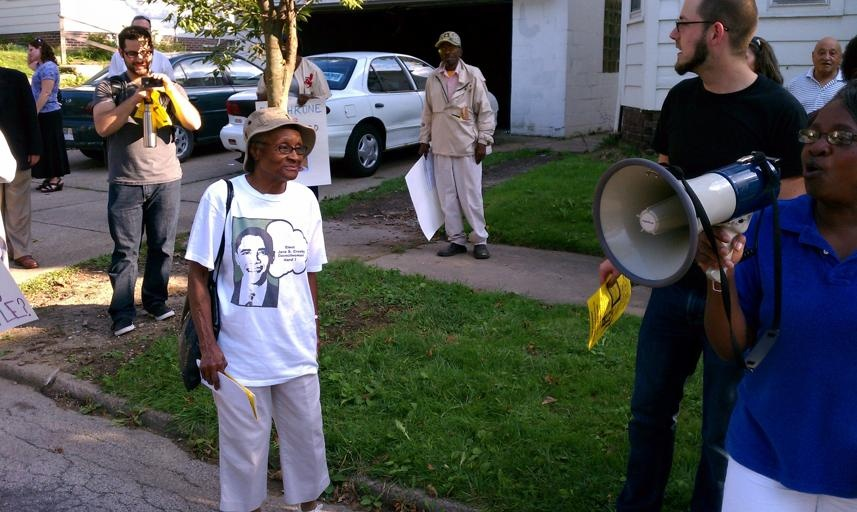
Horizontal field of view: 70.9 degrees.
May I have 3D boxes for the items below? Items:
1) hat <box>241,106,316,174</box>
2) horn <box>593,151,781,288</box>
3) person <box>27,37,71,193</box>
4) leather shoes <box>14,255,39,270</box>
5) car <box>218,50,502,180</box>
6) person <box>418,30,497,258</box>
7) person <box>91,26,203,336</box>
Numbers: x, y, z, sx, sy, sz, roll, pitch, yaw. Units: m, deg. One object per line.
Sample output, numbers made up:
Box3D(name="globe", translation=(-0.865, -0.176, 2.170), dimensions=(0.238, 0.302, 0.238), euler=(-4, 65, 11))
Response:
Box3D(name="hat", translation=(-0.895, -0.654, 3.613), dimensions=(0.357, 0.439, 0.393), euler=(0, 0, -4))
Box3D(name="horn", translation=(1.191, -0.217, 2.555), dimensions=(0.763, 0.566, 0.570), euler=(-18, 21, -18))
Box3D(name="person", translation=(-6.426, -2.343, 10.092), dimensions=(0.722, 2.404, 1.098), euler=(-6, 18, -43))
Box3D(name="leather shoes", translation=(-4.890, 0.067, 7.345), dimensions=(0.207, 0.129, 0.366), euler=(-13, 19, -41))
Box3D(name="car", translation=(-1.095, -3.372, 12.895), dimensions=(2.733, 2.016, 6.452), euler=(15, 26, 32))
Box3D(name="person", translation=(0.359, -1.369, 7.564), dimensions=(1.004, 2.689, 0.682), euler=(4, 10, 29))
Box3D(name="person", translation=(-2.739, -0.751, 5.793), dimensions=(0.978, 2.785, 0.941), euler=(2, 5, 21))
